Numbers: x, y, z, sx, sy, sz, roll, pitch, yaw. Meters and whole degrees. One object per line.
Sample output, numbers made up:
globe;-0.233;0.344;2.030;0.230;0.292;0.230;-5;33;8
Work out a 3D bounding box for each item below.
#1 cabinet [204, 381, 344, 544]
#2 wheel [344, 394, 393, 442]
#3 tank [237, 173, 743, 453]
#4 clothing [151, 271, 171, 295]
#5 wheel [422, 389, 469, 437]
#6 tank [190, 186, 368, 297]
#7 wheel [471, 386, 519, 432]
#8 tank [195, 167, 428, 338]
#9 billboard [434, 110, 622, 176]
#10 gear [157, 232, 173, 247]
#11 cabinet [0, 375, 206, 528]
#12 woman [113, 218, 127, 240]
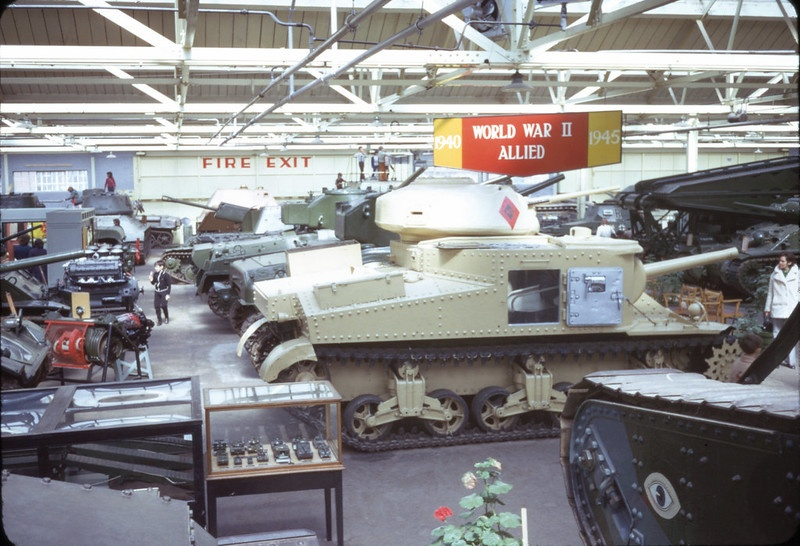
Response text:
cabinet;-1.476;2.226;8.417;1.438;1.938;1.099;-1;10;-12
wheel;-0.465;2.121;10.610;0.589;0.636;0.215;-1;5;-15
tank;1.202;0.609;12.016;6.459;3.451;4.057;-3;5;-14
clothing;-5.712;0.241;17.321;0.360;0.646;0.554;-6;10;-11
wheel;0.685;2.100;10.922;0.646;0.677;0.262;4;0;-21
tank;-3.415;-0.960;19.413;5.110;2.497;2.866;-2;2;-19
wheel;1.431;2.062;10.980;0.543;0.587;0.214;-7;1;-9
tank;-2.552;-0.555;16.797;6.314;3.316;3.536;-3;4;-20
billboard;1.907;-1.963;10.846;2.764;1.112;0.045;0;-1;2
gear;-10.625;-1.516;33.047;0.687;0.747;0.675;-2;6;-8
cabinet;-3.169;1.991;7.956;2.018;1.452;1.327;-8;11;-19
woman;-10.611;-1.691;27.508;0.413;0.768;0.875;-8;11;-21
